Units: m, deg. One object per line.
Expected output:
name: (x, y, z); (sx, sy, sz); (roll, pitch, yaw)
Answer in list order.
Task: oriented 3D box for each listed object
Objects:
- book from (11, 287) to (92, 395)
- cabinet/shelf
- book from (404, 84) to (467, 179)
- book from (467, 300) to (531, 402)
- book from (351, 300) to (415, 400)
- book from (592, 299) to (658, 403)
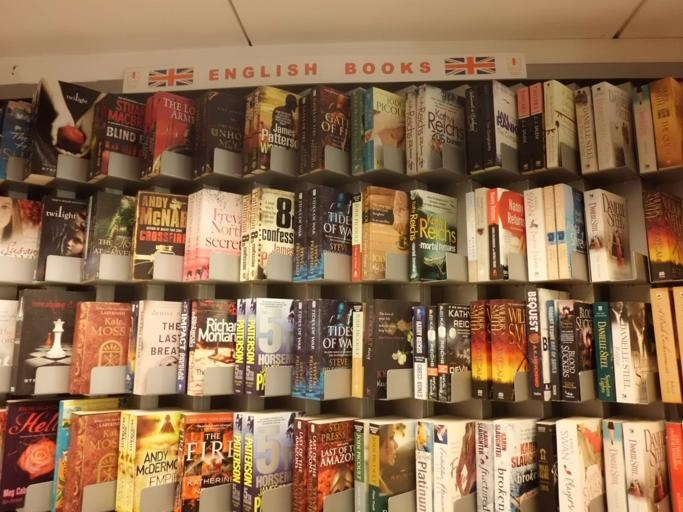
book: (-1.372, 0.421, 2.639); (0.071, 0.467, 0.593); (-22, 65, 56)
cabinet/shelf: (0.010, 0.194, 2.494); (3.346, 0.749, 1.530); (-2, 80, 5)
book: (0.415, -0.544, 2.517); (0.235, 0.425, 0.399); (-4, 86, 34)
book: (0.675, 0.408, 2.367); (0.218, 0.394, 0.366); (-7, 78, 37)
book: (0.179, 0.418, 2.424); (0.227, 0.417, 0.388); (-5, 83, 36)
book: (1.170, 0.404, 2.311); (0.205, 0.376, 0.352); (-8, 75, 33)
